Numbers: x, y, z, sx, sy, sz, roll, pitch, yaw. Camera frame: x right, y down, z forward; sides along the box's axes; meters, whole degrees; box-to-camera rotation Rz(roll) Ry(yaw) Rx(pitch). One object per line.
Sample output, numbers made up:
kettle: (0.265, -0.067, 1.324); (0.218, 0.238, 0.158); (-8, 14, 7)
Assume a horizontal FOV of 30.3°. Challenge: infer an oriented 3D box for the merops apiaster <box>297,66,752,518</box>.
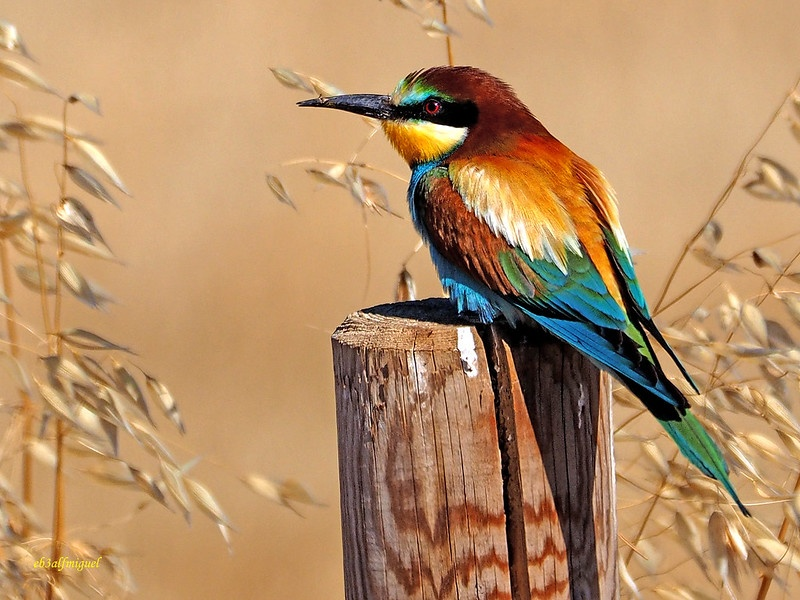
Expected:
merops apiaster: (0.577, -0.260, 6.012); (1.978, 0.680, 1.022); (29, -65, 28)
